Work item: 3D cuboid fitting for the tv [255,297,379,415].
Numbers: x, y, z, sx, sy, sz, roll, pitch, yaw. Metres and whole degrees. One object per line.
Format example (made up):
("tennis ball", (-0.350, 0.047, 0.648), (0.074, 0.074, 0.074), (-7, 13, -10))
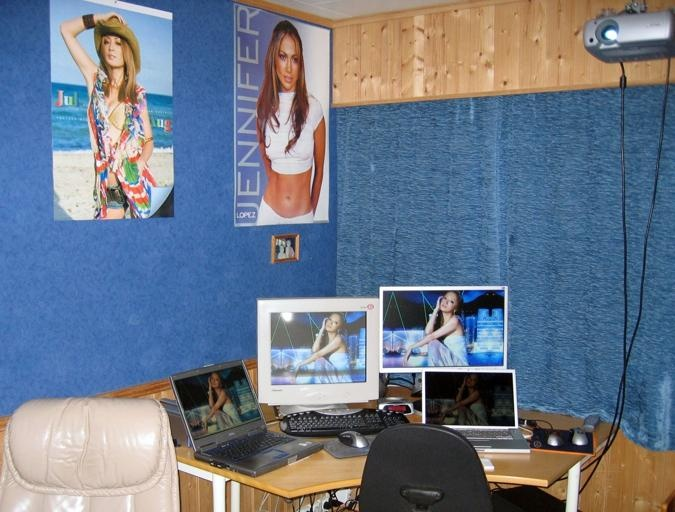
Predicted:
("tv", (-0.111, 0.490, 3.186), (0.538, 0.561, 0.211), (0, -2, -11))

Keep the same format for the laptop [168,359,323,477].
("laptop", (-0.431, 0.645, 2.859), (0.507, 0.364, 0.431), (-2, 3, 41))

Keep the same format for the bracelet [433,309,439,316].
("bracelet", (0.498, 0.284, 3.293), (0.026, 0.028, 0.008), (15, 3, -15))

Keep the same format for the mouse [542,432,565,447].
("mouse", (0.974, 0.824, 2.927), (0.058, 0.032, 0.058), (2, 0, -21))

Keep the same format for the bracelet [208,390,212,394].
("bracelet", (-0.575, 0.612, 2.923), (0.012, 0.005, 0.016), (1, 23, -10))

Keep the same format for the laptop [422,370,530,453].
("laptop", (0.634, 0.699, 3.033), (0.426, 0.277, 0.338), (0, -1, 2))
